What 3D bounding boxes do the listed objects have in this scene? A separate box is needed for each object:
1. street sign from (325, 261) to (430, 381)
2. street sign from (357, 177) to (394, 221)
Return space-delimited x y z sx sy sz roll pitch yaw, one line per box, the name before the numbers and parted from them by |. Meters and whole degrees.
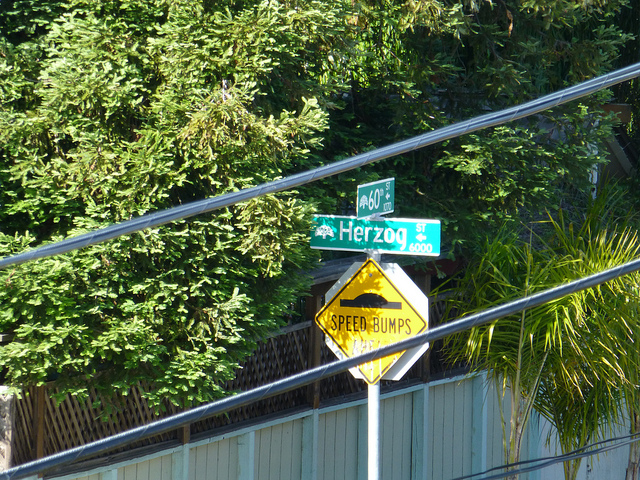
street sign | 0.537 0.727 13.863 0.920 1.112 0.346 -6 -4 4
street sign | 0.507 -0.394 13.825 0.455 0.334 0.038 -11 14 -40
